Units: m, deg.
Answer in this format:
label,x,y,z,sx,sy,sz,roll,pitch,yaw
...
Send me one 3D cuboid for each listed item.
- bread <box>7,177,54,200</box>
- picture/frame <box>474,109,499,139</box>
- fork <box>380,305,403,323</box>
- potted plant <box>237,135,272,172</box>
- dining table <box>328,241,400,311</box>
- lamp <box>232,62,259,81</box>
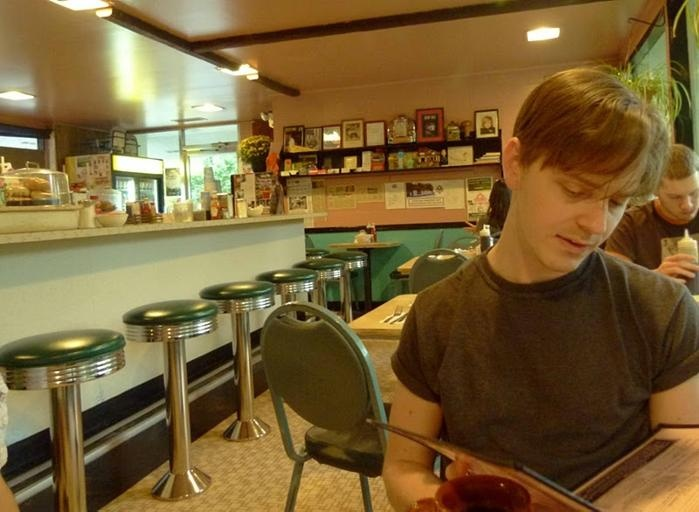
label,x,y,z,sx,sy,sz,roll,pitch,yaw
bread,-1.581,-0.314,2.734,0.141,0.072,0.135,0,-1,-20
picture/frame,1.726,-1.631,6.881,0.416,0.457,0.033,0,-3,11
fork,0.200,0.271,2.496,0.036,0.032,0.264,-8,11,23
potted plant,-0.997,-1.091,6.120,0.418,0.414,0.425,-4,7,-25
dining table,0.256,0.234,6.928,0.872,1.231,0.909,0,1,17
lamp,-1.172,-2.097,6.345,0.184,0.049,0.198,-7,-12,35
